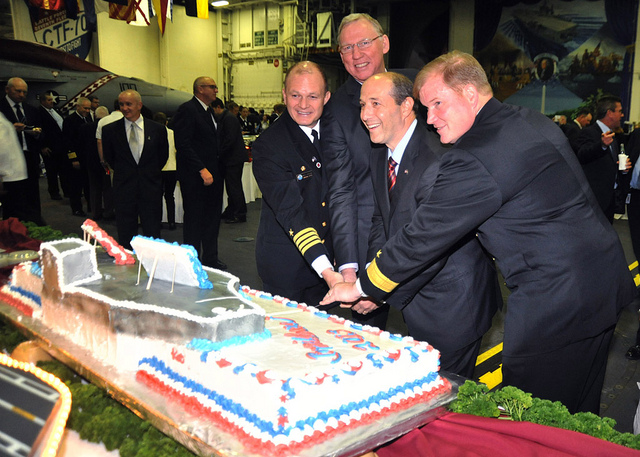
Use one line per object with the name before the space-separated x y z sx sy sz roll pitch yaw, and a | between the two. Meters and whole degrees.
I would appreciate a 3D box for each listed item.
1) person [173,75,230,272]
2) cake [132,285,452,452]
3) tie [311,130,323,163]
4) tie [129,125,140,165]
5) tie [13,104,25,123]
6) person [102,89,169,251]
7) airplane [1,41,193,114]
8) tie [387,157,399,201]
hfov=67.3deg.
person | -1.489 -0.666 6.039 0.759 2.380 0.566 5 11 -24
cake | -0.123 0.665 2.287 1.129 0.371 1.010 1 14 -41
tie | -0.015 -0.556 3.285 0.049 0.225 0.056 -14 5 -21
tie | -2.257 -1.032 5.824 0.106 0.429 0.248 2 12 -35
tie | -5.306 -2.022 8.449 0.071 0.307 0.091 -14 -5 7
person | -2.297 -0.531 6.070 0.759 2.333 0.634 -4 12 -21
airplane | -5.710 -3.969 12.594 4.025 1.512 3.519 -2 22 -13
tie | 0.438 -0.302 2.848 0.056 0.222 0.037 -1 -2 44
